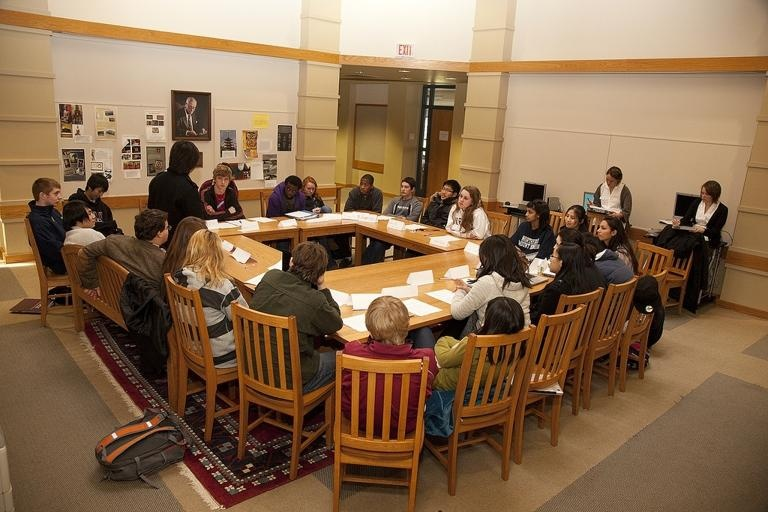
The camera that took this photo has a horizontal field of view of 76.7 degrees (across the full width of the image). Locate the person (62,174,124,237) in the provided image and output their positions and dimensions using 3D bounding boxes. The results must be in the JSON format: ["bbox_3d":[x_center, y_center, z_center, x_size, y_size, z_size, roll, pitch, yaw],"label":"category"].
[{"bbox_3d":[-3.486,-0.576,5.869,0.617,0.769,0.531,5,9,-15],"label":"person"}]

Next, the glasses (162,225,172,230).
[{"bbox_3d":[-2.053,-0.273,4.582,0.089,0.026,0.089,2,10,-11],"label":"glasses"}]

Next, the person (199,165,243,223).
[{"bbox_3d":[-2.095,-0.698,6.254,0.559,0.904,0.724,1,7,-28],"label":"person"}]

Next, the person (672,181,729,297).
[{"bbox_3d":[4.269,-0.209,6.629,0.530,1.620,0.551,-14,21,-35],"label":"person"}]

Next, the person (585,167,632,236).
[{"bbox_3d":[3.326,-0.844,7.223,0.595,0.875,0.641,5,30,27],"label":"person"}]

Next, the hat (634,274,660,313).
[{"bbox_3d":[2.465,0.353,4.565,0.248,0.341,0.101,-2,-5,-3],"label":"hat"}]

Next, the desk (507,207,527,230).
[{"bbox_3d":[2.055,-0.605,7.514,0.235,0.306,0.464,-1,15,-10],"label":"desk"}]

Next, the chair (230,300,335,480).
[{"bbox_3d":[-0.767,0.962,3.674,0.750,1.314,0.537,1,15,2],"label":"chair"}]

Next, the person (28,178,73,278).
[{"bbox_3d":[-3.626,-0.362,5.428,0.531,0.998,0.564,-4,23,-23],"label":"person"}]

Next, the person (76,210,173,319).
[{"bbox_3d":[-2.251,0.023,4.349,1.047,0.878,0.450,8,17,24],"label":"person"}]

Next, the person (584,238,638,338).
[{"bbox_3d":[2.434,0.095,5.246,0.479,0.981,0.426,9,12,28],"label":"person"}]

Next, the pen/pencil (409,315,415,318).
[{"bbox_3d":[0.225,0.495,3.976,0.027,0.006,0.026,-4,17,-19],"label":"pen/pencil"}]

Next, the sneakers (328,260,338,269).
[{"bbox_3d":[-0.702,0.135,6.618,0.116,0.060,0.160,0,19,-9],"label":"sneakers"}]

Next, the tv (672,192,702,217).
[{"bbox_3d":[4.202,-0.740,6.778,0.282,0.349,0.348,-14,19,-40],"label":"tv"}]

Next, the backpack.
[{"bbox_3d":[-1.779,1.412,3.567,0.466,0.184,0.493,-7,35,-41],"label":"backpack"}]
